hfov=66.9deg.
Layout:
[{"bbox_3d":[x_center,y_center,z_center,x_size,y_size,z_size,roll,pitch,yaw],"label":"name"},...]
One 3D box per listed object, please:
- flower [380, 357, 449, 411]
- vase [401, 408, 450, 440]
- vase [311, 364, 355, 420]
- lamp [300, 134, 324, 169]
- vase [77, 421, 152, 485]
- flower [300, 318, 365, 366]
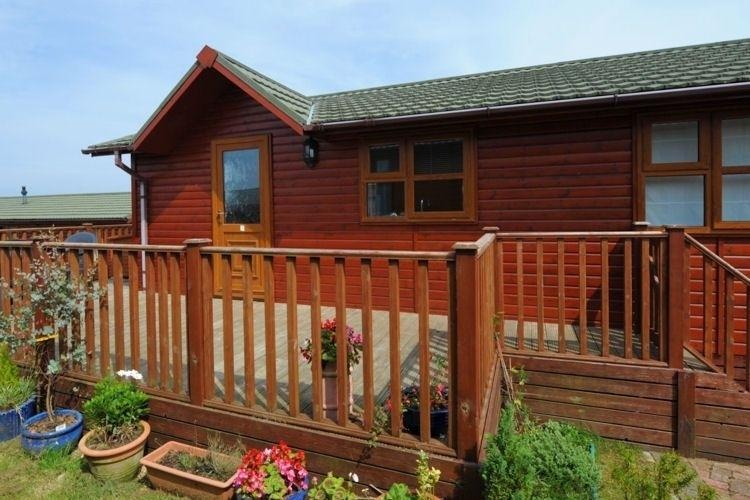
[{"bbox_3d":[0.570,1.679,7.157,0.676,0.251,0.621,-7,-1,17],"label":"flower"},{"bbox_3d":[0.601,2.098,6.840,0.543,0.324,0.363,1,6,3],"label":"vase"},{"bbox_3d":[-0.437,1.705,6.874,0.386,0.670,0.446,1,6,9],"label":"vase"},{"bbox_3d":[-1.140,-1.771,10.380,0.302,0.557,0.195,1,6,6],"label":"lamp"},{"bbox_3d":[-3.208,2.472,7.111,0.671,0.454,0.669,-1,-4,-13],"label":"vase"},{"bbox_3d":[-0.519,1.235,7.026,0.724,0.624,0.657,7,-19,-12],"label":"flower"}]
